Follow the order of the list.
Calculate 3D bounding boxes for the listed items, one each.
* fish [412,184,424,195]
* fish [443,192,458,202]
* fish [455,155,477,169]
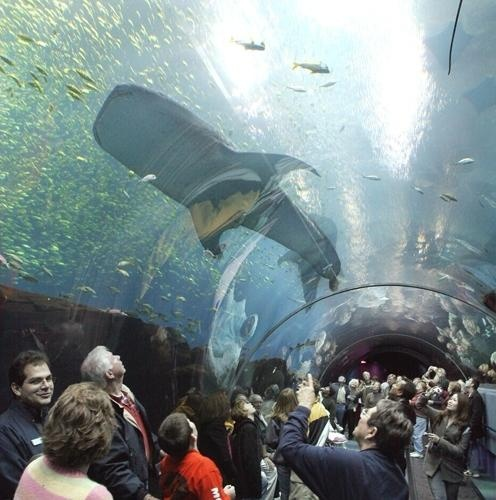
[{"bbox_3d":[3.636,-1.295,7.237,0.191,0.035,0.101,28,-11,24],"label":"fish"},{"bbox_3d":[4.320,-1.105,7.264,0.362,0.040,0.212,26,-24,-29],"label":"fish"},{"bbox_3d":[4.101,-1.650,6.351,0.373,0.181,0.118,-7,14,11],"label":"fish"}]
